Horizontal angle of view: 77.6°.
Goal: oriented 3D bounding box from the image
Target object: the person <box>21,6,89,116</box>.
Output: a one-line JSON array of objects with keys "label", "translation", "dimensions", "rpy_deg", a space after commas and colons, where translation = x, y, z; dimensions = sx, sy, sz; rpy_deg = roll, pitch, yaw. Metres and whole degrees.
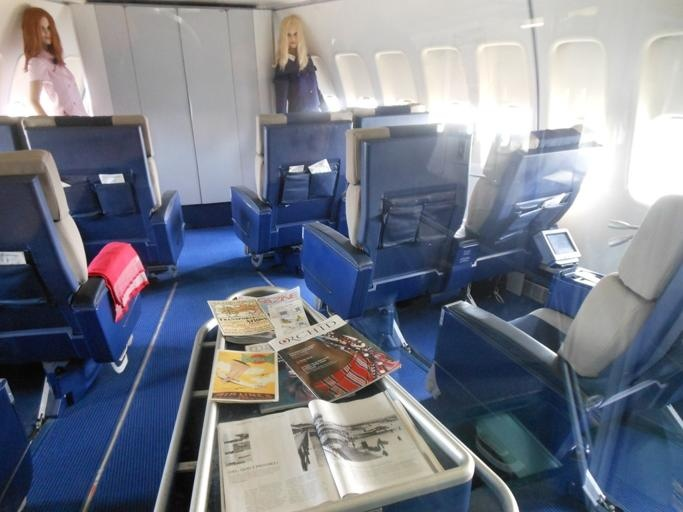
[{"label": "person", "translation": [-3.126, -2.055, 4.557], "dimensions": [0.280, 1.077, 0.602], "rpy_deg": [1, 23, 10]}]

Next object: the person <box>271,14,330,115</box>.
[{"label": "person", "translation": [-0.584, -2.482, 5.536], "dimensions": [0.642, 1.153, 0.378], "rpy_deg": [-6, 22, -6]}]
